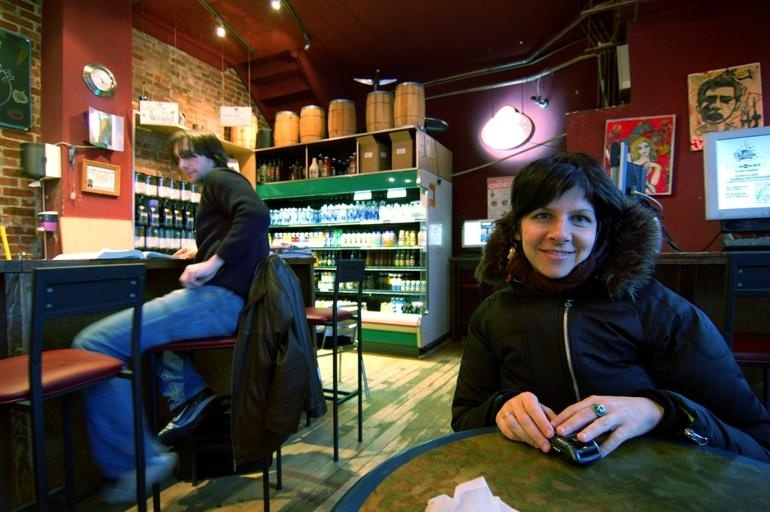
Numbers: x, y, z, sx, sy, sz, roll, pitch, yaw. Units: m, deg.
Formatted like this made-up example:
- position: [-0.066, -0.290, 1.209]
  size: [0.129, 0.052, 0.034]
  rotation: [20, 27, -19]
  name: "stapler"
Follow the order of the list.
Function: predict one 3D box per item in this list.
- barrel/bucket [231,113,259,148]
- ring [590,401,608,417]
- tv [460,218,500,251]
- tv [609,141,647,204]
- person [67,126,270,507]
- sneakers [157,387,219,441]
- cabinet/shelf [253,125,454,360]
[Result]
- position: [-1.824, -1.619, 7.325]
  size: [0.319, 0.455, 0.302]
  rotation: [3, 5, 0]
  name: "barrel/bucket"
- position: [1.016, 0.727, 2.698]
  size: [0.067, 0.059, 0.040]
  rotation: [-3, 4, 17]
  name: "ring"
- position: [0.972, -0.232, 5.864]
  size: [0.398, 0.322, 0.215]
  rotation: [2, 5, 27]
  name: "tv"
- position: [1.728, -0.647, 4.190]
  size: [0.316, 0.474, 0.429]
  rotation: [-1, 6, 13]
  name: "tv"
- position: [-1.343, 0.334, 3.967]
  size: [1.343, 2.575, 1.016]
  rotation: [-1, -20, 8]
  name: "person"
- position: [-1.218, 1.013, 3.707]
  size: [0.470, 0.200, 0.166]
  rotation: [-38, -10, -34]
  name: "sneakers"
- position: [-0.592, -0.097, 7.335]
  size: [2.755, 2.598, 1.129]
  rotation: [-1, 2, 28]
  name: "cabinet/shelf"
